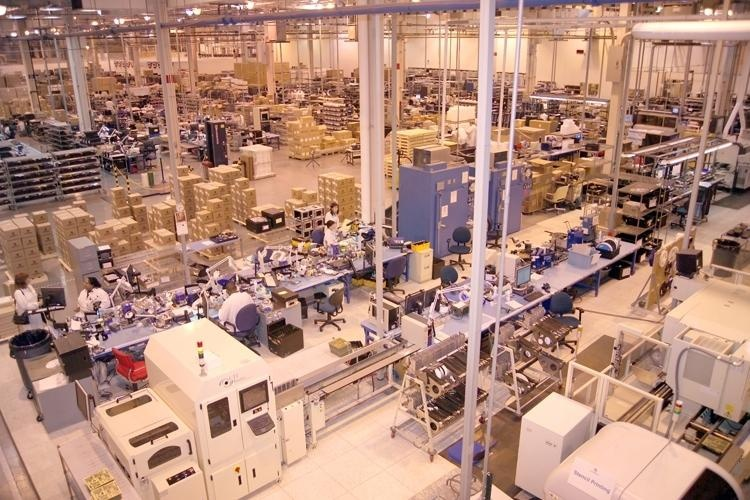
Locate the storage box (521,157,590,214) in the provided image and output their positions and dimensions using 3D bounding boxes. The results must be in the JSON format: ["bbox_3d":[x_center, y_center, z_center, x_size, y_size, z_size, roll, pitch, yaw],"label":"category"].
[{"bbox_3d":[5.466,-1.945,16.581,1.661,1.154,0.943,-16,31,-28],"label":"storage box"}]

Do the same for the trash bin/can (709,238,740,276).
[{"bbox_3d":[8.092,0.165,12.469,0.562,0.851,0.576,-17,27,-33],"label":"trash bin/can"}]

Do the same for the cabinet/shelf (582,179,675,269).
[{"bbox_3d":[6.341,-0.630,13.430,1.837,1.719,1.348,18,32,37],"label":"cabinet/shelf"}]

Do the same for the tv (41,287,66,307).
[{"bbox_3d":[-6.206,0.907,10.399,0.378,0.259,0.132,0,14,-16],"label":"tv"}]

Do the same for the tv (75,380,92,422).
[{"bbox_3d":[-4.871,2.491,9.005,0.082,0.455,0.721,-12,28,-30],"label":"tv"}]

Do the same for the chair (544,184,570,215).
[{"bbox_3d":[5.693,-1.669,16.824,0.951,0.801,0.618,-19,28,-36],"label":"chair"}]

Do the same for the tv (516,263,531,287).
[{"bbox_3d":[2.980,0.509,10.920,0.060,0.315,0.458,11,17,44],"label":"tv"}]

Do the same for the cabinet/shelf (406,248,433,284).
[{"bbox_3d":[1.037,0.350,12.841,0.569,0.816,0.600,10,21,33],"label":"cabinet/shelf"}]

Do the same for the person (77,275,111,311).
[{"bbox_3d":[-5.410,0.912,10.391,0.764,0.730,0.434,7,7,35],"label":"person"}]
